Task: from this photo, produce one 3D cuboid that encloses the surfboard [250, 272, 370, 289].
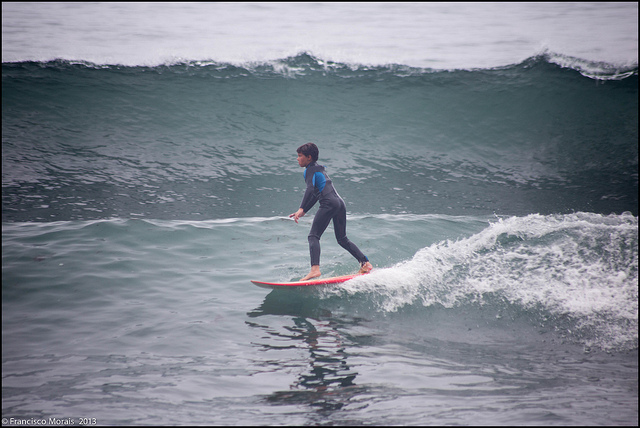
[{"bbox_3d":[-0.331,1.958,24.240,2.937,0.131,0.282,-5,10,-4],"label":"surfboard"}]
